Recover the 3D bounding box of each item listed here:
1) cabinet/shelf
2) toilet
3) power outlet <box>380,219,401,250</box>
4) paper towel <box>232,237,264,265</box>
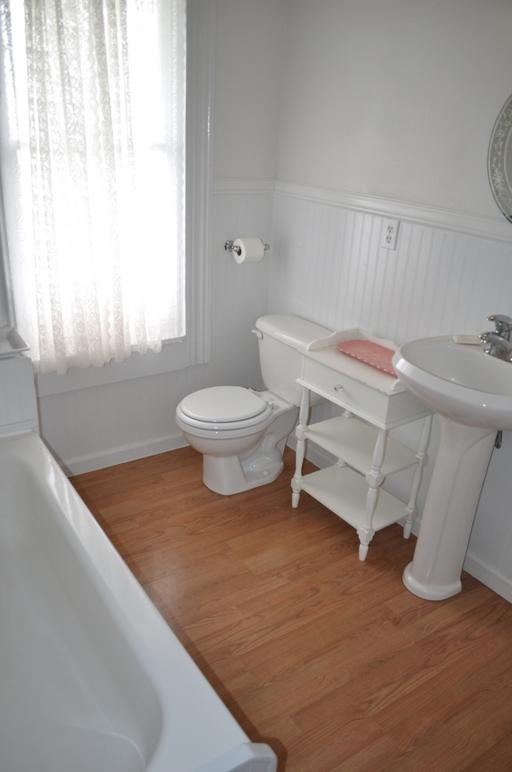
[{"bbox_3d":[0.395,0.206,2.124,0.368,0.794,0.552,-18,34,-32],"label":"cabinet/shelf"},{"bbox_3d":[-0.025,0.104,2.411,0.683,0.711,0.398,-15,31,-32],"label":"toilet"},{"bbox_3d":[0.499,-0.569,1.981,0.015,0.117,0.080,-13,34,-27],"label":"power outlet"},{"bbox_3d":[-0.032,-0.619,2.492,0.122,0.114,0.128,-4,50,-32],"label":"paper towel"}]
